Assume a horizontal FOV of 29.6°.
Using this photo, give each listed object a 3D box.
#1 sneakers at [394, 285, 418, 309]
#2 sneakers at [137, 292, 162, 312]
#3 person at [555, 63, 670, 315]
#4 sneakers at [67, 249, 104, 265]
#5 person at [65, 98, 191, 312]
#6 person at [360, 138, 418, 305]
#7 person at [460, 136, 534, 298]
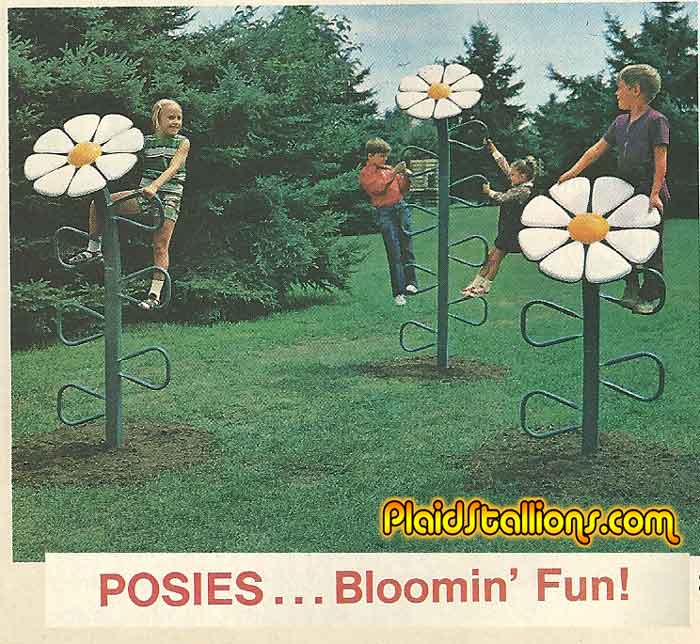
[{"bbox_3d":[0.418,-0.210,10.352,0.259,0.092,0.109,-38,5,8],"label":"sneakers"},{"bbox_3d":[-1.409,-0.137,9.302,0.101,0.089,0.213,2,8,-10],"label":"sneakers"},{"bbox_3d":[1.890,-0.942,9.256,0.772,1.675,0.904,-9,15,-35],"label":"person"},{"bbox_3d":[-1.820,-0.443,9.132,0.291,0.090,0.098,-4,11,-30],"label":"sneakers"},{"bbox_3d":[-1.530,-0.919,9.370,0.899,1.370,0.803,18,20,18],"label":"person"},{"bbox_3d":[0.274,-0.762,10.205,0.406,1.270,0.261,0,3,4],"label":"person"},{"bbox_3d":[1.119,-0.790,10.094,0.453,1.196,0.384,-1,3,-14],"label":"person"}]
